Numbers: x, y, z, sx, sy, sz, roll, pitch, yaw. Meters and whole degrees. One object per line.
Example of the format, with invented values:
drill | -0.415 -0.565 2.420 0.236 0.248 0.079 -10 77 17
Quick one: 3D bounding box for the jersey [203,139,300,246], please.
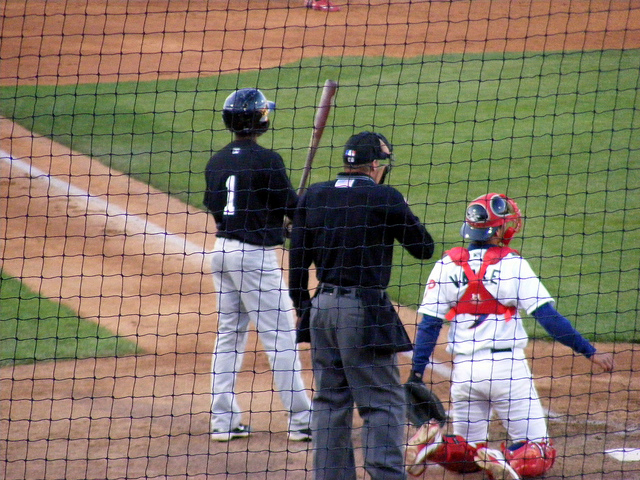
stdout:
jersey | -0.859 -0.619 17.804 1.097 1.394 0.248 -6 0 -1
